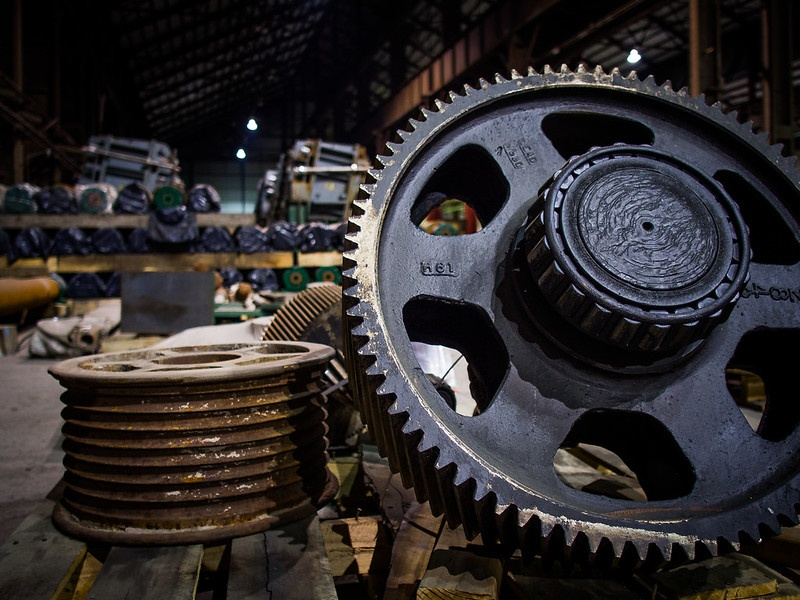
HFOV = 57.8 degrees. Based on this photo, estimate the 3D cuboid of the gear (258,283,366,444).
[{"bbox_3d":[-0.708,0.468,6.181,1.010,1.269,0.388,13,-30,-18],"label":"gear"}]
